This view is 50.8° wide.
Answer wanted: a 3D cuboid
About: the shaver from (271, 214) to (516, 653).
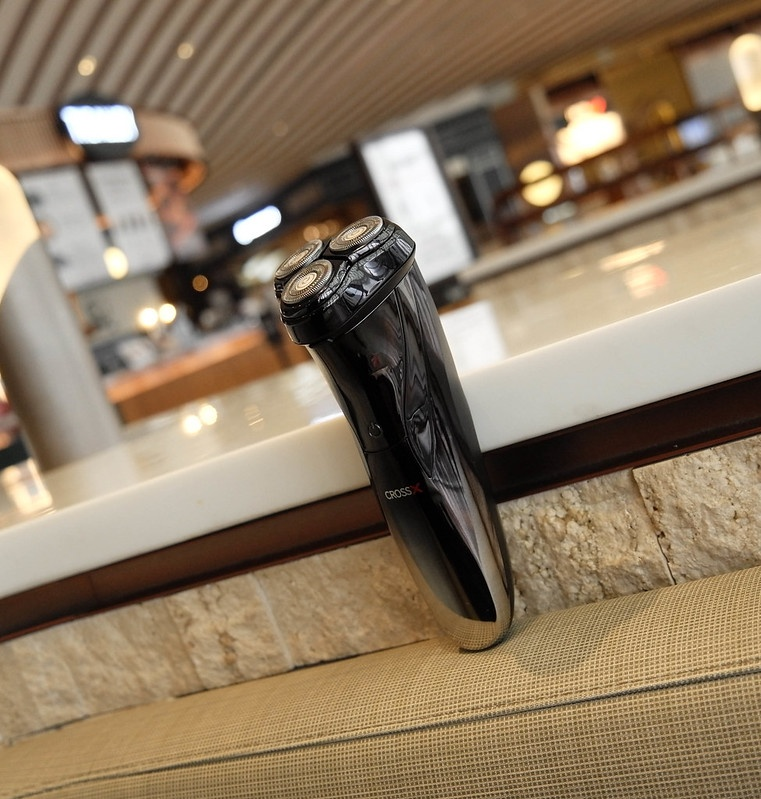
[{"bbox_3d":[0.023,0.022,0.341,0.081,0.185,0.046,-31,9,-4],"label":"shaver"}]
